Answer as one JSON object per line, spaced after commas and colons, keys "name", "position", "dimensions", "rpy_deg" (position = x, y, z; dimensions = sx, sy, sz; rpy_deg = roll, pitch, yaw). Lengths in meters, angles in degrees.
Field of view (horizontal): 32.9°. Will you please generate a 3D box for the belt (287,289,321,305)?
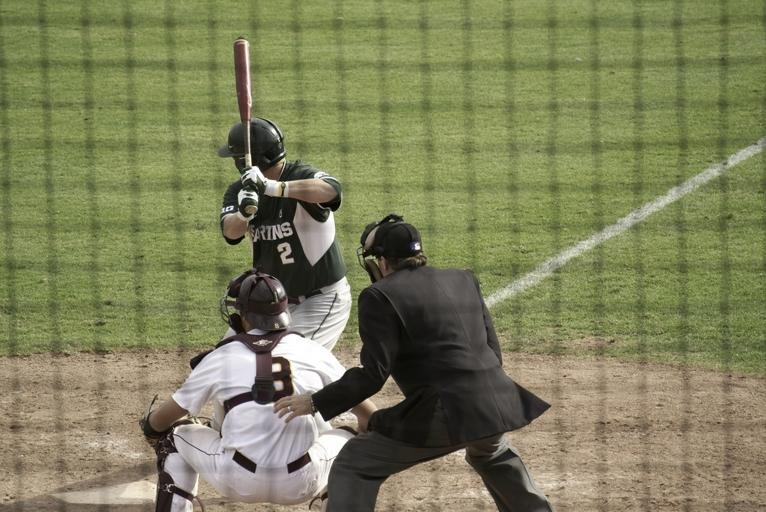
{"name": "belt", "position": [-0.916, 0.481, 15.045], "dimensions": [0.293, 0.064, 0.202], "rpy_deg": [-13, 1, 1]}
